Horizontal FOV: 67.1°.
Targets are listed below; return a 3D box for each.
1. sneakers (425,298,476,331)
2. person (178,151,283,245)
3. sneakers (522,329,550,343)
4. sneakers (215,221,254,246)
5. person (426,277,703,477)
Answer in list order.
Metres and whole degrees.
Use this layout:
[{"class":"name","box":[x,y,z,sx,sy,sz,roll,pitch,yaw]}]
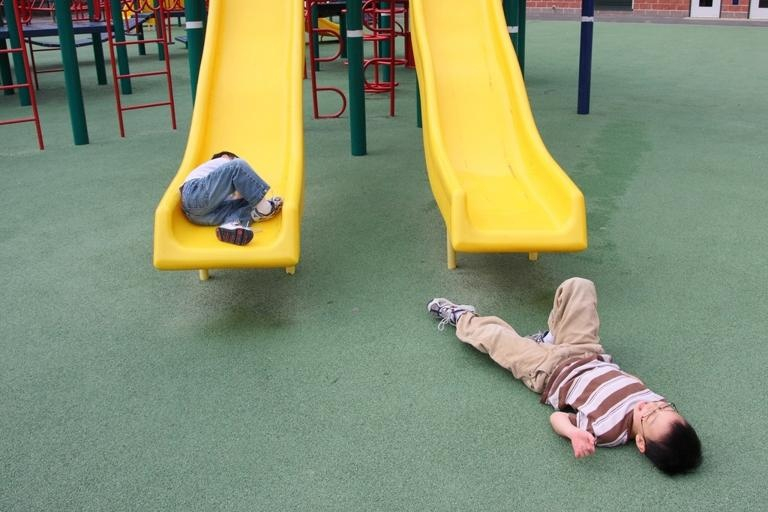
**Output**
[{"class":"sneakers","box":[0.383,0.341,3.597,0.369,0.126,0.166,9,15,21]},{"class":"person","box":[-1.091,-0.474,4.168,0.759,0.424,0.913,-7,46,-20]},{"class":"sneakers","box":[0.895,0.473,3.419,0.055,0.063,0.143,-12,16,-24]},{"class":"sneakers","box":[-0.942,-0.134,3.719,0.271,0.110,0.126,10,30,15]},{"class":"person","box":[0.976,0.554,3.214,0.840,0.464,1.661,-16,31,-24]}]
